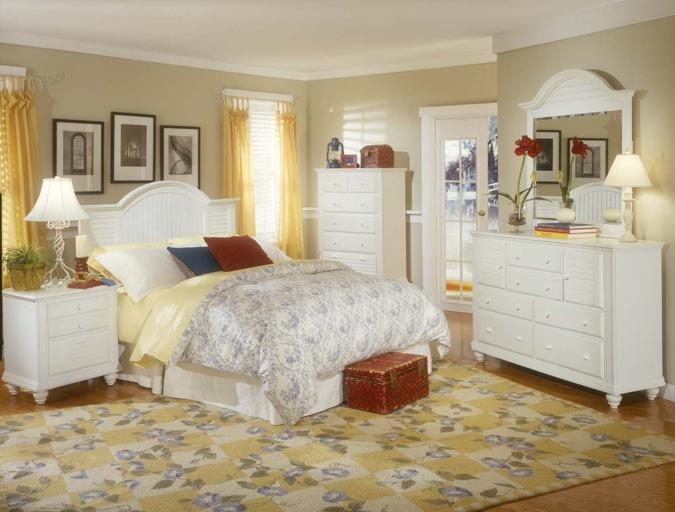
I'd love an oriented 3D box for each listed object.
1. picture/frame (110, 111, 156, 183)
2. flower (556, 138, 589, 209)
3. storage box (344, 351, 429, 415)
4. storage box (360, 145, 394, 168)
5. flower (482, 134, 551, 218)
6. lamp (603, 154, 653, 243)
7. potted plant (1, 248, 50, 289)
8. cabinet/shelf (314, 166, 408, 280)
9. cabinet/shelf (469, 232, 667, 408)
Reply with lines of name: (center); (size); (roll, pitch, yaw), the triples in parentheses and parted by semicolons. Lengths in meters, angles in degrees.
picture/frame: (-2.329, -1.220, 5.508); (0.036, 0.805, 0.538); (17, 18, 34)
flower: (2.077, -0.675, 4.268); (0.304, 0.717, 0.244); (1, 15, 13)
storage box: (0.327, 0.937, 3.604); (0.378, 0.274, 0.596); (3, 6, 37)
storage box: (0.533, -1.335, 6.437); (0.567, 0.387, 0.296); (0, 8, -3)
flower: (1.717, -0.695, 4.513); (0.560, 0.829, 0.692); (-10, 11, -32)
lamp: (2.249, -0.454, 3.728); (0.380, 0.652, 0.380); (4, -3, -41)
potted plant: (-2.539, 0.100, 3.999); (0.421, 0.404, 0.380); (1, 1, 41)
cabinet/shelf: (0.311, -0.512, 6.664); (0.976, 1.488, 0.588); (8, 21, 26)
cabinet/shelf: (1.969, 0.447, 4.253); (0.631, 1.224, 1.704); (-2, 3, -19)
